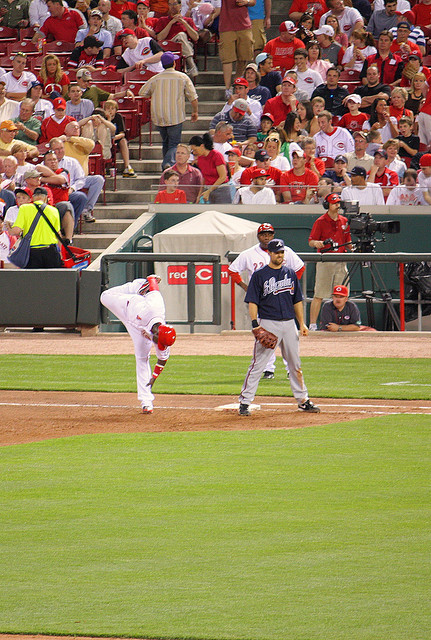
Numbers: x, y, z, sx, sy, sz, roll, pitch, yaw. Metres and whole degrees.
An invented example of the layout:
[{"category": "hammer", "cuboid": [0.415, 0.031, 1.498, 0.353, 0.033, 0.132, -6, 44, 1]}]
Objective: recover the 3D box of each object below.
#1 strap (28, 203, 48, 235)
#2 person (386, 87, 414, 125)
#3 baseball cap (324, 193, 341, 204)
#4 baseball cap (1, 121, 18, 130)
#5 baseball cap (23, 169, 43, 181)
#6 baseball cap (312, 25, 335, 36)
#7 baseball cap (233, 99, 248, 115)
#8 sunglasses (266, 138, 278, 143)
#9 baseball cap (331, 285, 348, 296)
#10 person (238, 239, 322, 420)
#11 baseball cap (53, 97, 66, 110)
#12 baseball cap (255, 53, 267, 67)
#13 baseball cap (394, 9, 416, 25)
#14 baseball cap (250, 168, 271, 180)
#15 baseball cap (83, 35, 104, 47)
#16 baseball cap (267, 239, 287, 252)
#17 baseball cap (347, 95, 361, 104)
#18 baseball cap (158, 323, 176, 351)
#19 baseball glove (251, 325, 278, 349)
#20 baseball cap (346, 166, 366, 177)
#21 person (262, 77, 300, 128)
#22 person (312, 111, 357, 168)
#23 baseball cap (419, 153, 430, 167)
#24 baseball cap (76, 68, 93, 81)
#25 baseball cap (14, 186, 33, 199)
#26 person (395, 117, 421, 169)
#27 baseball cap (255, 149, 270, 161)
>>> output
[{"category": "strap", "cuboid": [-2.309, -1.330, 15.763, 0.061, 0.448, 0.066, 27, 22, -13]}, {"category": "person", "cuboid": [2.923, -3.405, 19.269, 0.399, 0.562, 0.828, 0, 6, 10]}, {"category": "baseball cap", "cuboid": [1.626, -1.671, 16.788, 0.160, 0.128, 0.196, -2, 6, -12]}, {"category": "baseball cap", "cuboid": [-3.141, -2.948, 18.442, 0.195, 0.133, 0.414, -1, 6, -3]}, {"category": "baseball cap", "cuboid": [-2.473, -1.970, 16.420, 0.209, 0.087, 0.142, -9, 11, 2]}, {"category": "baseball cap", "cuboid": [1.905, -5.052, 21.247, 0.331, 0.169, 0.218, 3, 24, 3]}, {"category": "baseball cap", "cuboid": [0.379, -3.304, 18.832, 0.165, 0.130, 0.226, -22, 64, -45]}, {"category": "sunglasses", "cuboid": [0.847, -2.705, 18.323, 0.172, 0.071, 0.120, 1, 6, 11]}, {"category": "baseball cap", "cuboid": [1.587, -0.375, 15.525, 0.173, 0.127, 0.283, -1, 6, 0]}, {"category": "person", "cuboid": [0.555, 0.080, 10.795, 0.658, 1.590, 0.528, -2, 6, -12]}, {"category": "baseball cap", "cuboid": [-2.427, -3.363, 18.919, 0.180, 0.165, 0.202, -2, 6, -10]}, {"category": "baseball cap", "cuboid": [0.784, -4.395, 20.460, 0.140, 0.201, 0.194, -19, 46, -39]}, {"category": "baseball cap", "cuboid": [3.478, -5.567, 22.200, 0.379, 0.222, 0.237, 21, 25, -10]}, {"category": "baseball cap", "cuboid": [0.677, -2.214, 18.405, 0.295, 0.165, 0.293, -1, 6, 1]}, {"category": "baseball cap", "cuboid": [-2.239, -5.068, 22.197, 0.273, 0.153, 0.185, 6, 37, -5]}, {"category": "baseball cap", "cuboid": [0.516, -0.648, 10.588, 0.100, 0.082, 0.143, -8, 15, -28]}, {"category": "baseball cap", "cuboid": [2.201, -3.503, 19.290, 0.153, 0.132, 0.293, 5, 8, 42]}, {"category": "baseball cap", "cuboid": [-0.417, 0.141, 10.219, 0.134, 0.236, 0.254, -1, 6, -3]}, {"category": "baseball glove", "cuboid": [0.433, 0.140, 10.524, 0.202, 0.151, 0.060, 42, -16, -1]}, {"category": "baseball cap", "cuboid": [2.089, -2.177, 17.822, 0.186, 0.107, 0.123, 5, -1, -6]}, {"category": "person", "cuboid": [1.046, -3.494, 19.518, 0.568, 0.809, 0.569, -1, 6, 2]}, {"category": "person", "cuboid": [1.816, -2.777, 18.748, 0.626, 0.844, 0.325, 0, 6, 4]}, {"category": "baseball cap", "cuboid": [3.081, -2.354, 17.950, 0.140, 0.194, 0.307, 0, 6, 7]}, {"category": "baseball cap", "cuboid": [-2.253, -4.107, 20.382, 0.287, 0.170, 0.187, 5, 11, 42]}, {"category": "baseball cap", "cuboid": [-2.576, -1.704, 16.363, 0.219, 0.144, 0.256, -2, 6, -11]}, {"category": "person", "cuboid": [2.947, -2.722, 18.693, 0.321, 0.752, 0.428, 0, 6, 10]}, {"category": "baseball cap", "cuboid": [0.695, -2.468, 18.183, 0.216, 0.174, 0.367, 0, 6, 2]}]
